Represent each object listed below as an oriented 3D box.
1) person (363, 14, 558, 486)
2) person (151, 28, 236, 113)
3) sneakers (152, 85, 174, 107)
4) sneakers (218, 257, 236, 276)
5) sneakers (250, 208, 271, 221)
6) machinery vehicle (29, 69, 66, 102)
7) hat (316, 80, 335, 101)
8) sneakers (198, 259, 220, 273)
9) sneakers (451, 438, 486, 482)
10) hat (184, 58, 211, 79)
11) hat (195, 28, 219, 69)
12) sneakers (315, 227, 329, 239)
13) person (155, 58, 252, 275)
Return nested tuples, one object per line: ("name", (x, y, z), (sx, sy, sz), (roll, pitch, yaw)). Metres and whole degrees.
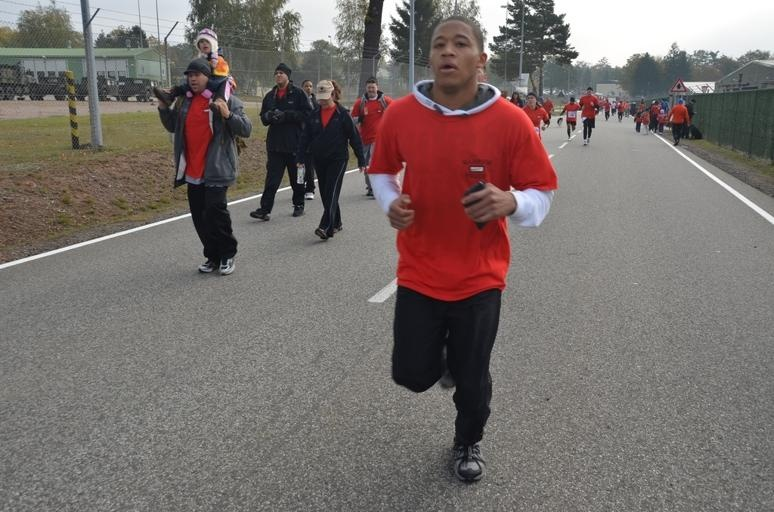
("person", (0.394, 0.023, 3.285), (1.063, 2.767, 0.594), (4, 13, 18))
("person", (-2.298, -2.381, 6.957), (0.974, 1.068, 0.986), (13, 14, 36))
("sneakers", (-2.731, -1.905, 6.641), (0.195, 0.176, 0.476), (-21, 12, -9))
("sneakers", (-2.139, 0.129, 7.332), (0.109, 0.142, 0.296), (0, 9, 4))
("sneakers", (-2.390, -0.789, 10.378), (0.410, 0.230, 0.165), (13, -14, -17))
("machinery vehicle", (-29.308, -14.889, 47.415), (2.695, 2.499, 14.128), (-9, 19, -29))
("hat", (-1.075, -2.918, 9.590), (0.244, 0.213, 0.415), (-1, 29, 5))
("sneakers", (-2.410, 0.149, 7.397), (0.279, 0.144, 0.121), (1, 1, -34))
("sneakers", (0.543, 1.296, 3.563), (0.175, 0.190, 0.430), (-5, 3, 13))
("hat", (-2.360, -2.364, 6.847), (0.334, 0.223, 0.234), (-12, 19, -36))
("hat", (-2.424, -2.787, 7.366), (0.295, 0.510, 0.264), (-12, 17, -42))
("sneakers", (-1.029, -0.351, 8.884), (0.137, 0.115, 0.305), (47, 2, 33))
("person", (-2.371, -1.116, 7.056), (0.877, 2.706, 0.355), (0, 12, 2))
